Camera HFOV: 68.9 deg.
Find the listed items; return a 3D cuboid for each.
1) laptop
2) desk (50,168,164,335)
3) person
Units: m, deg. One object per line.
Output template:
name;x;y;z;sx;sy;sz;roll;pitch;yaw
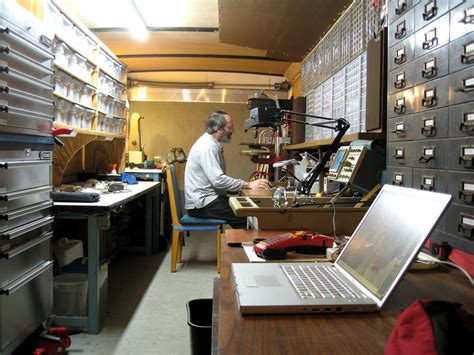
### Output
laptop;0.301;0.228;1.086;0.459;0.277;0.458;3;1;-2
desk;-1.112;0.524;3.337;0.549;0.876;2.504;0;5;-8
person;-0.108;0.111;3.687;0.842;1.542;0.715;1;10;-4
